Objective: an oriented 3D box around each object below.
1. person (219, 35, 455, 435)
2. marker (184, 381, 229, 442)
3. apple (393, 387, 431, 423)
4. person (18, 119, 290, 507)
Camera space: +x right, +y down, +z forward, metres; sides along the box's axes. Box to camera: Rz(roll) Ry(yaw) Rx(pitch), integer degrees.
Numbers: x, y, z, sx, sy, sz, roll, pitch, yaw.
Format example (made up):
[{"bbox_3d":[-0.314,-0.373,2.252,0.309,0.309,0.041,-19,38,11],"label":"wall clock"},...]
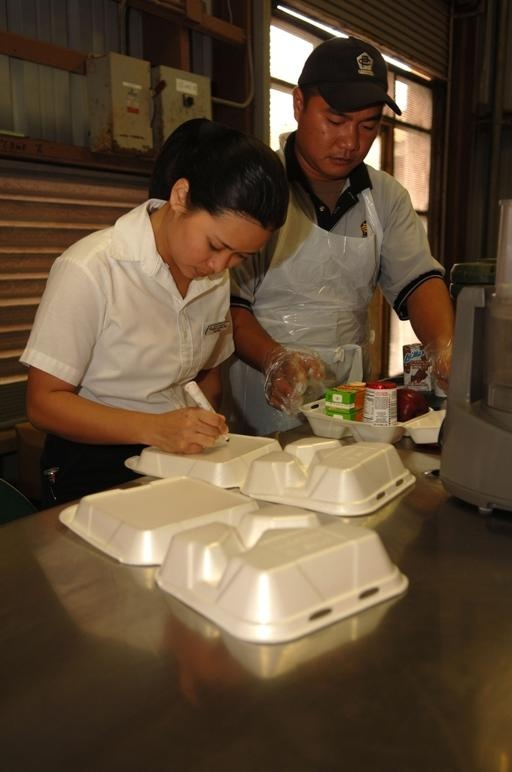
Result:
[{"bbox_3d":[0.164,-0.356,1.881,0.710,1.334,0.447,-13,23,-41],"label":"person"},{"bbox_3d":[-0.113,0.053,1.254,0.037,0.163,0.045,-35,-13,26],"label":"marker"},{"bbox_3d":[0.358,0.044,1.299,0.071,0.064,0.115,3,7,22],"label":"apple"},{"bbox_3d":[-0.214,-0.066,1.303,0.493,0.932,0.517,-13,26,-41],"label":"person"}]
